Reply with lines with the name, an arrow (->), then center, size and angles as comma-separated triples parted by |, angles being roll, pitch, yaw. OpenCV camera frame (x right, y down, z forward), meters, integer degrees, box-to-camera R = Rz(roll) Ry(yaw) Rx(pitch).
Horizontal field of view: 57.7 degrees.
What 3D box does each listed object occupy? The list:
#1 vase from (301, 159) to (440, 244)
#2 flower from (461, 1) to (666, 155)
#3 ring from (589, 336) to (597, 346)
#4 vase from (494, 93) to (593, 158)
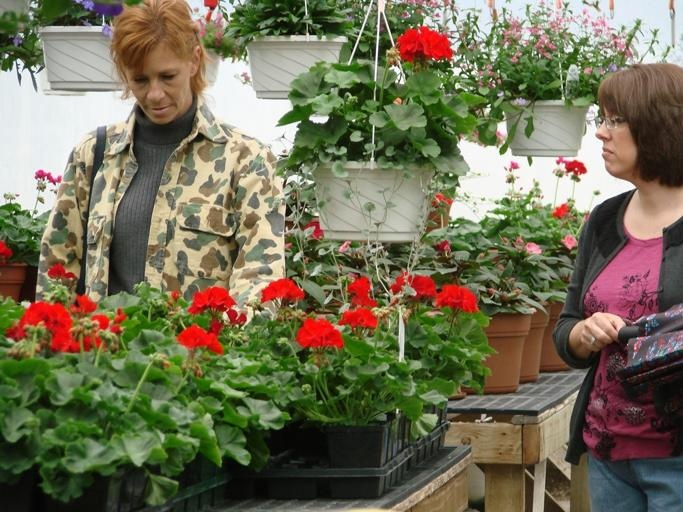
vase -> 0.104, -0.176, 1.989 | 0.308, 0.172, 0.292 | 2, -5, -14
flower -> 1.171, -1.000, 3.629 | 1.015, 0.893, 1.044 | 2, -3, -24
ring -> 0.718, 0.241, 1.772 | 0.018, 0.031, 0.023 | -2, 20, 2
vase -> 1.042, -0.650, 3.130 | 0.341, 0.187, 0.329 | 0, -2, 10
